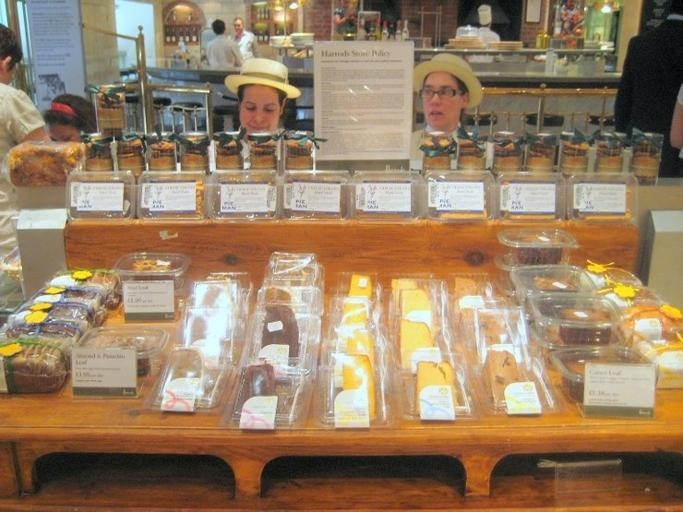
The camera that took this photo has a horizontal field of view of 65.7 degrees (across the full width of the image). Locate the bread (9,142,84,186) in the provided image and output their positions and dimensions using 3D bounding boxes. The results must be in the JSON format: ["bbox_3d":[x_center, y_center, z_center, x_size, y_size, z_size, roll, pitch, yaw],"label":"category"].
[{"bbox_3d":[-1.071,-0.337,1.957,0.296,0.150,0.121,-1,19,0],"label":"bread"}]

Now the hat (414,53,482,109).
[{"bbox_3d":[0.501,-0.822,2.509,0.312,0.237,0.213,2,19,8],"label":"hat"}]

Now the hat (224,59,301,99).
[{"bbox_3d":[-0.373,-0.843,2.486,0.232,0.074,0.252,-2,-10,42],"label":"hat"}]
